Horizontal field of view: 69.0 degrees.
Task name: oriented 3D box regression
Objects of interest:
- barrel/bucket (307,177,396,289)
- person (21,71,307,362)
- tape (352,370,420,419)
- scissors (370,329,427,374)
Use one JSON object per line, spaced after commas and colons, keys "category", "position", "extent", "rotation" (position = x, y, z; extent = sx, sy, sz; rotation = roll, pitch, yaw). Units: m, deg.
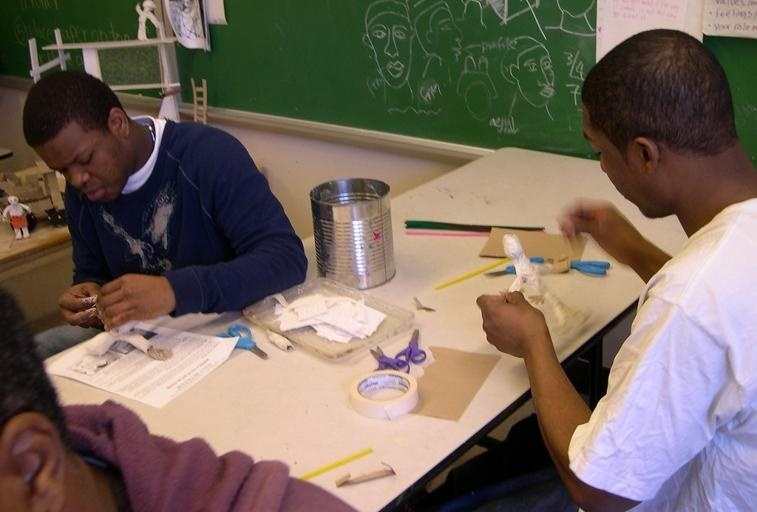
{"category": "barrel/bucket", "position": [-0.075, -0.047, 1.674], "extent": [0.241, 0.321, 0.286], "rotation": [7, 23, 29]}
{"category": "person", "position": [-0.686, -0.140, 1.803], "extent": [0.815, 0.948, 0.577], "rotation": [-3, 24, 3]}
{"category": "tape", "position": [0.015, 0.300, 1.202], "extent": [0.146, 0.052, 0.113], "rotation": [-4, 21, 2]}
{"category": "scissors", "position": [0.052, 0.234, 1.321], "extent": [0.128, 0.037, 0.120], "rotation": [-9, 22, -11]}
